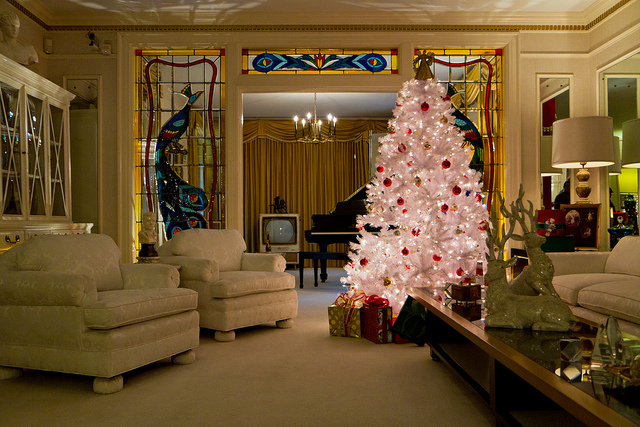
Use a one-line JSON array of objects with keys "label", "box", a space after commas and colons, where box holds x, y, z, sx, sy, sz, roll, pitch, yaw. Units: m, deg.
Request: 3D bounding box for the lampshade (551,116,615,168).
[{"label": "lampshade", "box": [2.958, -0.802, 5.509, 0.592, 0.488, 0.651, 3, 3, 26]}]

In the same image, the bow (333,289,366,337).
[{"label": "bow", "box": [0.250, 1.022, 4.805, 0.287, 0.375, 0.292, 3, -10, -6]}]

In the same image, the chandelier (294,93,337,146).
[{"label": "chandelier", "box": [-0.074, -1.647, 8.793, 0.792, 1.111, 0.821, 0, 1, 10]}]

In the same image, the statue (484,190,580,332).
[{"label": "statue", "box": [1.339, 0.297, 3.268, 0.472, 0.874, 0.543, 3, 2, 11]}]

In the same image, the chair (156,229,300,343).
[{"label": "chair", "box": [-0.966, 0.692, 5.158, 1.239, 1.009, 1.171, 1, 0, 35]}]

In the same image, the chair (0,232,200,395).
[{"label": "chair", "box": [-1.678, 0.737, 3.912, 1.179, 1.039, 1.323, 1, 0, 21]}]

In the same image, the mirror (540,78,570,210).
[{"label": "mirror", "box": [3.080, -0.602, 6.448, 0.473, 2.375, 0.059, 4, 16, 41]}]

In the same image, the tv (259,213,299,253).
[{"label": "tv", "box": [-0.826, 0.312, 9.944, 0.789, 0.791, 0.585, -1, 18, -8]}]
